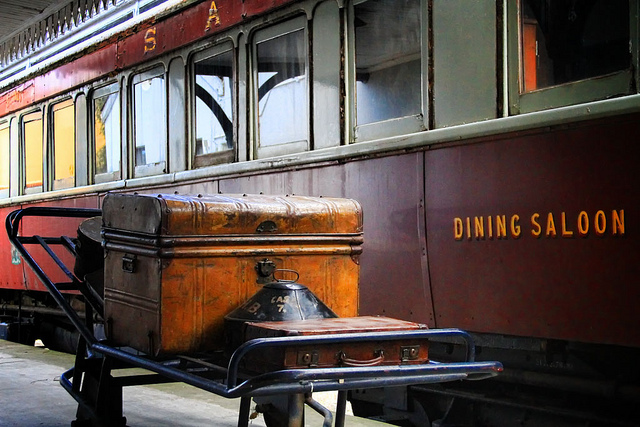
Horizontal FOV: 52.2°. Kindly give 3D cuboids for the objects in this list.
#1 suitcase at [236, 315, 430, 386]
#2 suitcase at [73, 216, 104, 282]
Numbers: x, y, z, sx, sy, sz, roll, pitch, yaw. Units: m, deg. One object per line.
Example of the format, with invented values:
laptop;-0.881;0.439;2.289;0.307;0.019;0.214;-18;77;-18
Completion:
suitcase;0.165;0.788;4.022;0.922;0.242;0.936;-3;-2;-1
suitcase;-1.784;0.285;5.046;0.184;0.465;0.226;0;24;8
